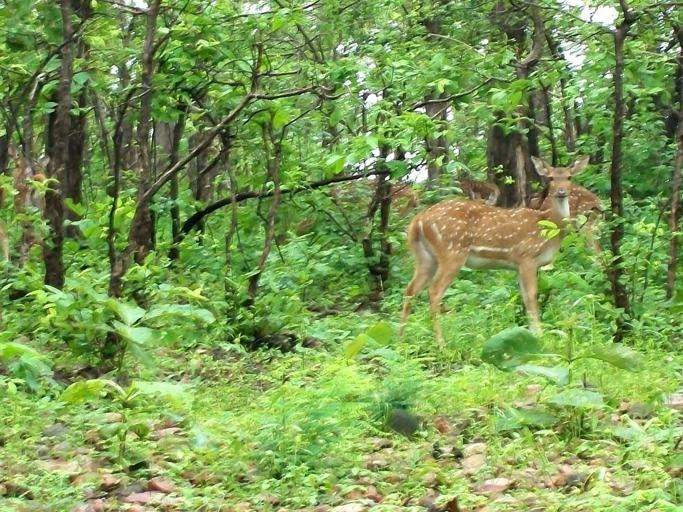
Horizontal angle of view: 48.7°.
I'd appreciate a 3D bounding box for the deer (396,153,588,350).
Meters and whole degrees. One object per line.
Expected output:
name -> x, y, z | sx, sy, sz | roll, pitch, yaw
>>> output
deer -> 1.801, -0.083, 8.596 | 2.392, 1.930, 0.822 | 1, -8, -16
